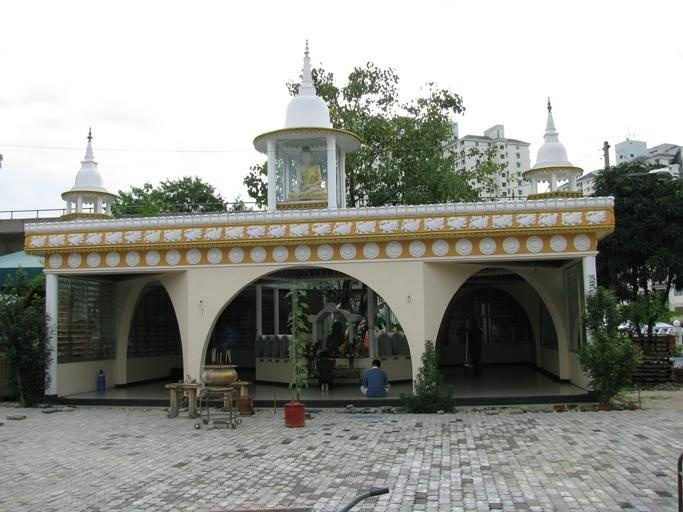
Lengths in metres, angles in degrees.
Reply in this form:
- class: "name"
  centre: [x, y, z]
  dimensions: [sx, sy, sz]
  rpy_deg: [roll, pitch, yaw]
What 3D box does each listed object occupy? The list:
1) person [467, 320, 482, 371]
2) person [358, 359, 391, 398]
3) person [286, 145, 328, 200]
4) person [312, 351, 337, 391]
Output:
- class: "person"
  centre: [3.811, 2.922, 22.020]
  dimensions: [0.432, 1.578, 1.437]
  rpy_deg: [-2, -7, 9]
- class: "person"
  centre: [0.650, 3.102, 17.312]
  dimensions: [0.638, 0.977, 0.582]
  rpy_deg: [1, -19, -2]
- class: "person"
  centre: [-1.066, -2.327, 19.286]
  dimensions: [1.185, 1.621, 0.922]
  rpy_deg: [-3, -12, 9]
- class: "person"
  centre: [-0.607, 3.139, 19.064]
  dimensions: [0.559, 1.066, 0.922]
  rpy_deg: [-1, -7, -4]
